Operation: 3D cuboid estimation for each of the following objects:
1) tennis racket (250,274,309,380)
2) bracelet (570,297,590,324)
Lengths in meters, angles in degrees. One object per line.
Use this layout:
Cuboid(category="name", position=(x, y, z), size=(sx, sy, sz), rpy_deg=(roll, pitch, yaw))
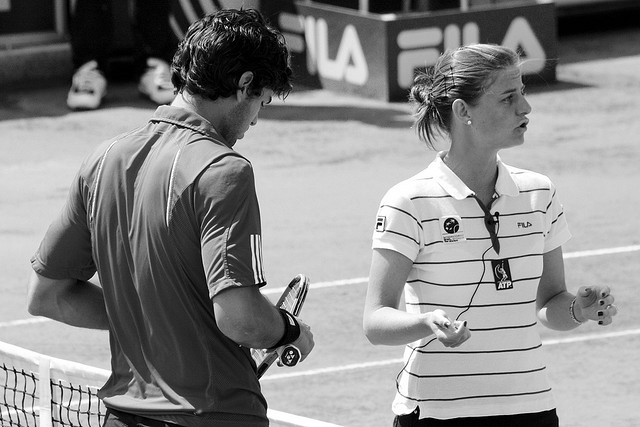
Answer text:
Cuboid(category="tennis racket", position=(-0.199, 0.864, 9.660), size=(0.355, 0.177, 1.331), rpy_deg=(-10, 23, 14))
Cuboid(category="bracelet", position=(1.915, 0.727, 9.972), size=(0.133, 0.224, 0.109), rpy_deg=(3, 14, 11))
